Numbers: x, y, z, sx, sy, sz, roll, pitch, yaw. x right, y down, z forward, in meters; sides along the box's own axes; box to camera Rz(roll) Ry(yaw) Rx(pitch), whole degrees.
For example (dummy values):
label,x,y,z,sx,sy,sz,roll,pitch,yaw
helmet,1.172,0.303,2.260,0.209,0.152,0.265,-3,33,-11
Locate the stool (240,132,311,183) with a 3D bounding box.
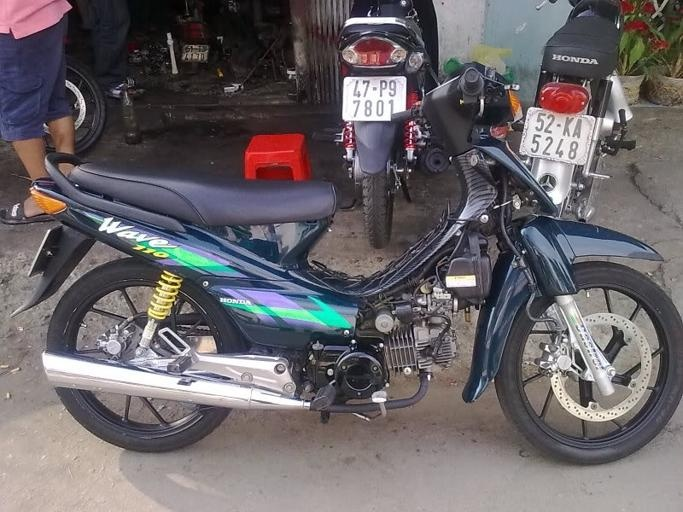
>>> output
label,x,y,z,sx,sy,sz,roll,pitch,yaw
stool,-0.465,-0.701,4.351,0.528,0.419,0.528,-3,5,2
